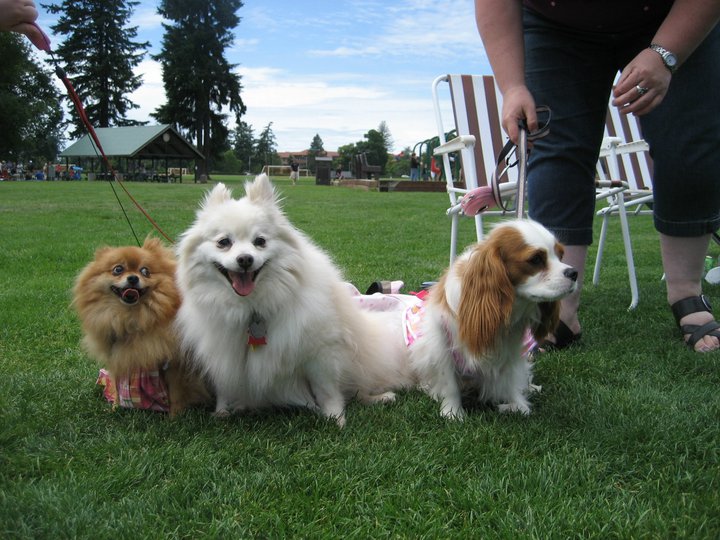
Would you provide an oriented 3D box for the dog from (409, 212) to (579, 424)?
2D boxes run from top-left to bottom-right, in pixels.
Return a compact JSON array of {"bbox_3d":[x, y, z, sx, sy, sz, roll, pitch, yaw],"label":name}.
[{"bbox_3d":[0.877,0.328,4.134,0.928,1.299,1.310,-8,8,-42],"label":"dog"}]

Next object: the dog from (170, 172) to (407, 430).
[{"bbox_3d":[-0.509,0.214,4.643,1.310,1.783,2.125,1,6,27],"label":"dog"}]

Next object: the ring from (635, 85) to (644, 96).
[{"bbox_3d":[1.734,-1.102,3.676,0.038,0.060,0.017,2,4,1],"label":"ring"}]

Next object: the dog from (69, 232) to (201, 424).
[{"bbox_3d":[-1.489,0.356,4.274,0.750,1.278,1.126,-1,7,-5],"label":"dog"}]
